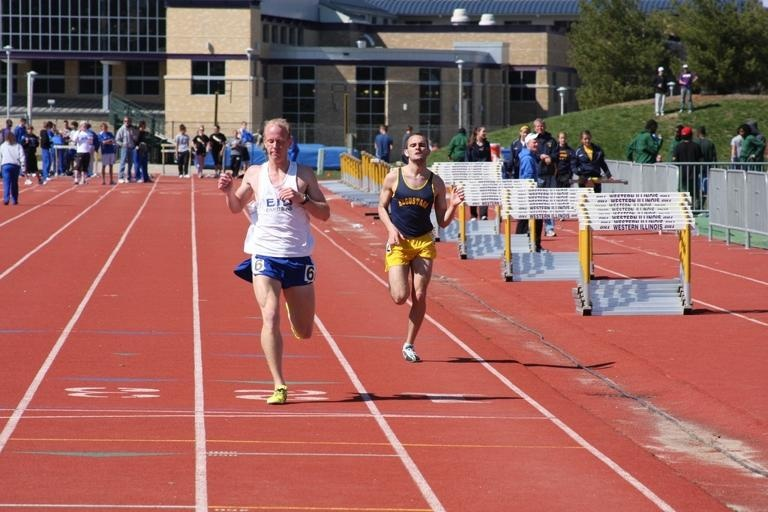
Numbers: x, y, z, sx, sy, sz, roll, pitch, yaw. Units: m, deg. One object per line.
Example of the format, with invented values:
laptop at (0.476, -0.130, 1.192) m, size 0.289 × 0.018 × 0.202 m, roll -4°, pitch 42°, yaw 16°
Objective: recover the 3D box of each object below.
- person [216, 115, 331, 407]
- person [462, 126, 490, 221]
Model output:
person at (-1.155, 0.076, 12.609) m, size 1.068 × 3.085 × 0.777 m, roll 1°, pitch 7°, yaw -7°
person at (2.305, -1.962, 27.492) m, size 0.794 × 1.944 × 0.780 m, roll 1°, pitch 1°, yaw 0°
